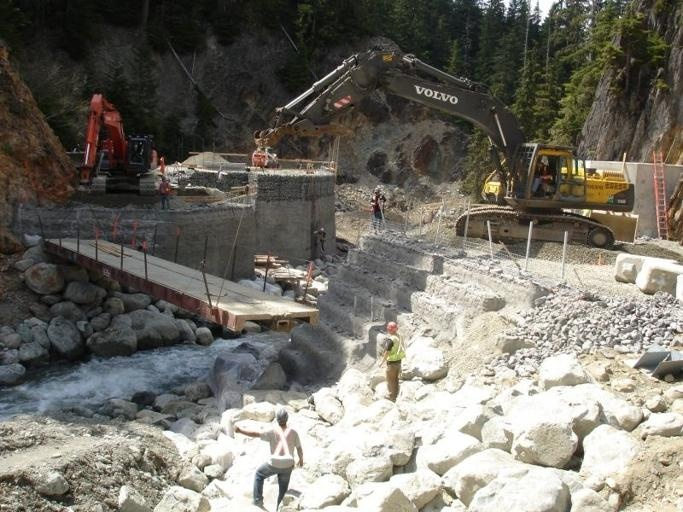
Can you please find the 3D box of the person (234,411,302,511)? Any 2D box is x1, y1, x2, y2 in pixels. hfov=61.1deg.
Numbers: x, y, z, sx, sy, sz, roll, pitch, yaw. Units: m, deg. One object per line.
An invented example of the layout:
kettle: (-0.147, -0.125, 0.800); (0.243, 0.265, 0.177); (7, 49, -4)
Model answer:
person: (-1.165, 3.291, 9.688); (1.019, 1.735, 0.998); (1, 10, -10)

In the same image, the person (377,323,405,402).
person: (1.099, 2.134, 12.136); (0.343, 1.696, 0.644); (7, 11, 25)

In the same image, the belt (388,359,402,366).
belt: (1.070, 2.177, 12.032); (0.260, 0.115, 0.081); (2, 10, -7)

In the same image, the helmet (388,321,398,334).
helmet: (1.027, 1.459, 11.944); (0.158, 0.311, 0.410); (3, 10, 2)

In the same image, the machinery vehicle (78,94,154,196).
machinery vehicle: (-9.008, -4.436, 23.039); (2.655, 3.736, 2.634); (-2, 11, -26)

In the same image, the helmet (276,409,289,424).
helmet: (-0.968, 2.574, 9.450); (0.162, 0.228, 0.215); (3, 17, -2)
